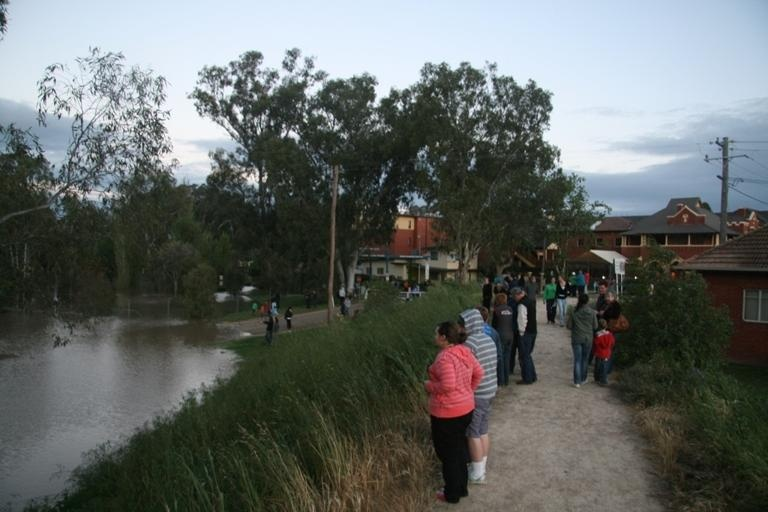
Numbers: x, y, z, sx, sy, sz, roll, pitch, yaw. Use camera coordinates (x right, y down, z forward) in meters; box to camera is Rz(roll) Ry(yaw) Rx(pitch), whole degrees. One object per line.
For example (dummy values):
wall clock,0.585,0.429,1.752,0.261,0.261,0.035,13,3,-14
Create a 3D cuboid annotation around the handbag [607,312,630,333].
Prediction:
handbag,7.304,2.101,19.079,0.581,0.625,0.298,-22,-13,-42
